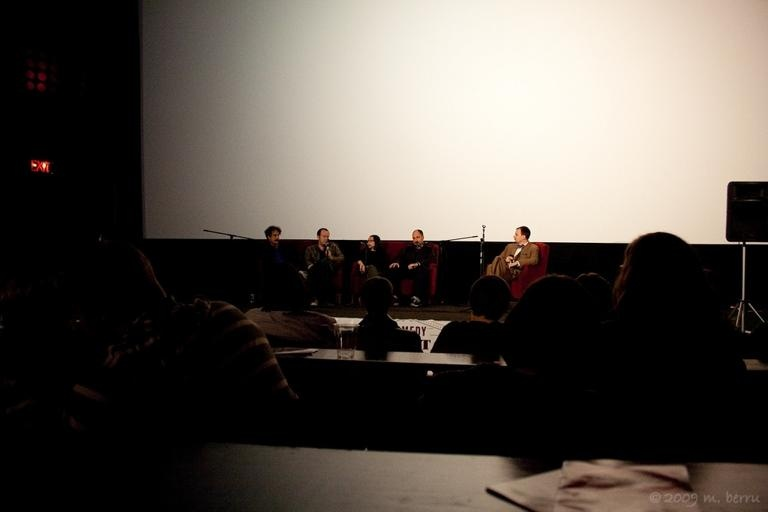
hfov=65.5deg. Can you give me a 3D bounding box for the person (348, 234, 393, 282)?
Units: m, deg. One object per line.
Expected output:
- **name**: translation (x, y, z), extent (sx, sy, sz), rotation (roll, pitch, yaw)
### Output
- **person**: translation (-0.115, -0.008, 7.477), extent (0.458, 0.531, 0.705), rotation (-4, 8, -23)

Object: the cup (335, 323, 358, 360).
- **cup**: translation (-0.164, 0.370, 2.564), extent (0.117, 0.159, 0.116), rotation (0, -1, 0)

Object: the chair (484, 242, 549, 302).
- **chair**: translation (1.668, 0.133, 7.205), extent (0.520, 0.574, 0.461), rotation (-12, 17, -9)

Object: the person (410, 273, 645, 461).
- **person**: translation (0.587, 0.451, 2.438), extent (0.590, 0.297, 0.831), rotation (-3, 7, 19)

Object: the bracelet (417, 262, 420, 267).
- **bracelet**: translation (0.420, 0.097, 7.394), extent (0.047, 0.063, 0.018), rotation (-2, 6, 1)

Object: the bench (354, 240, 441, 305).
- **bench**: translation (0.105, 0.234, 7.397), extent (1.096, 0.962, 0.608), rotation (1, -2, -6)

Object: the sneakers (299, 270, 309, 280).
- **sneakers**: translation (-0.995, 0.231, 7.375), extent (0.082, 0.045, 0.112), rotation (12, 12, -46)

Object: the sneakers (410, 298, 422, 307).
- **sneakers**: translation (0.405, 0.591, 7.503), extent (0.062, 0.078, 0.185), rotation (0, 0, -7)

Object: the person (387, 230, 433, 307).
- **person**: translation (0.357, 0.127, 7.498), extent (0.573, 0.957, 0.546), rotation (11, -6, -34)
